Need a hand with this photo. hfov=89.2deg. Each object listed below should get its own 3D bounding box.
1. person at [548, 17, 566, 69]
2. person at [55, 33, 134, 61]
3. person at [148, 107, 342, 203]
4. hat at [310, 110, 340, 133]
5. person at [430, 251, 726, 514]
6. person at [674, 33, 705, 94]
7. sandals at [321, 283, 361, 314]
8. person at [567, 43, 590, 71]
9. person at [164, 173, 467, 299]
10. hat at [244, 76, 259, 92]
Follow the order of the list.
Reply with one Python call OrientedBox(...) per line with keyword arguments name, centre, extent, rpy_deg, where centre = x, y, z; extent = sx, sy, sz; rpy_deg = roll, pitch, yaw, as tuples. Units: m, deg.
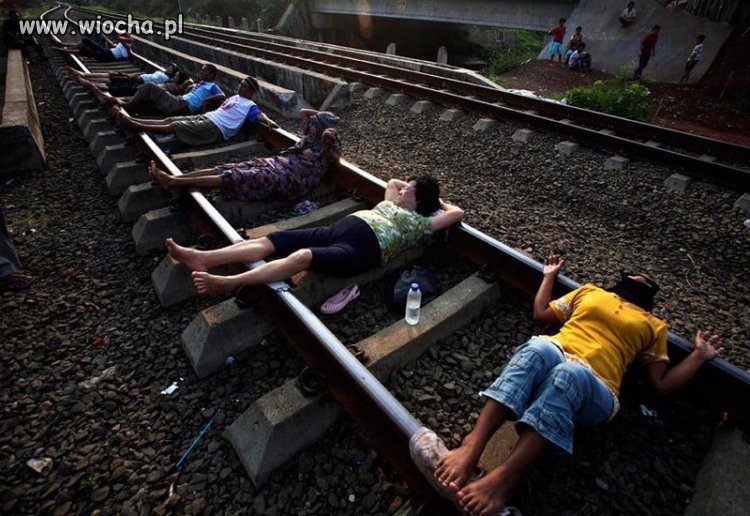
OrientedBox(name="person", centre=(9.059, -10.601, 18.738), extent=(0.778, 1.894, 1.458), rpy_deg=(12, 37, 16))
OrientedBox(name="person", centre=(-9.156, -6.867, 12.513), extent=(1.787, 0.740, 1.119), rpy_deg=(7, 36, 7))
OrientedBox(name="person", centre=(-1.683, -1.336, 5.167), extent=(2.464, 1.011, 0.802), rpy_deg=(-10, 32, -14))
OrientedBox(name="hat", centre=(-0.733, -1.926, 5.404), extent=(0.332, 0.127, 0.268), rpy_deg=(1, -1, 12))
OrientedBox(name="person", centre=(1.508, 0.926, 2.885), extent=(2.333, 0.704, 1.466), rpy_deg=(-45, 26, -15))
OrientedBox(name="person", centre=(11.954, -7.396, 14.273), extent=(0.441, 1.535, 1.866), rpy_deg=(24, 42, 29))
OrientedBox(name="sandals", centre=(-0.331, 0.441, 3.991), extent=(0.482, 0.125, 0.172), rpy_deg=(-32, 68, -27))
OrientedBox(name="person", centre=(9.344, -9.061, 17.303), extent=(1.029, 1.012, 0.797), rpy_deg=(22, 41, 26))
OrientedBox(name="person", centre=(-0.374, -0.047, 4.372), extent=(3.364, 1.049, 1.370), rpy_deg=(-12, 26, -28))
OrientedBox(name="hat", centre=(-2.126, -3.040, 6.607), extent=(0.118, 0.292, 0.255), rpy_deg=(-12, 9, 12))
